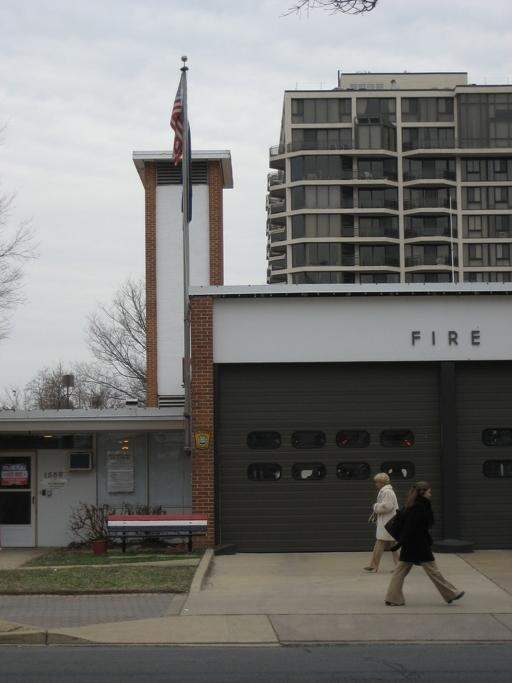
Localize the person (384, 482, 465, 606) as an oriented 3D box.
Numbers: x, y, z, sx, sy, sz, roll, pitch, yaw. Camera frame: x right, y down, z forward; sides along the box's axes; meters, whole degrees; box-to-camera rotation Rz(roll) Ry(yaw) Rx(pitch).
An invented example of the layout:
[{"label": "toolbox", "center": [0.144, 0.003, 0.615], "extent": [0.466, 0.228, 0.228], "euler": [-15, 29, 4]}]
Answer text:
[{"label": "person", "center": [1.991, 2.510, 13.801], "extent": [0.889, 1.525, 0.739], "euler": [-2, -3, 9]}]

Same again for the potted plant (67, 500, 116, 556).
[{"label": "potted plant", "center": [-2.957, 3.575, 21.325], "extent": [0.589, 0.875, 0.720], "euler": [-7, 0, 4]}]
